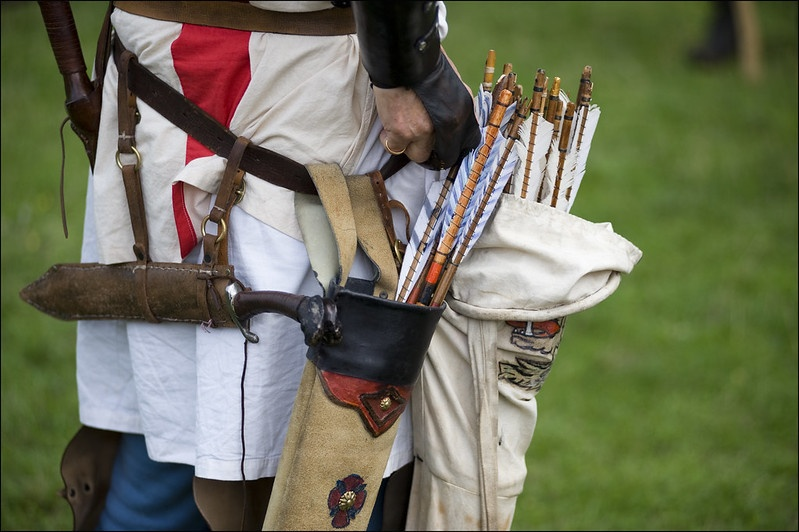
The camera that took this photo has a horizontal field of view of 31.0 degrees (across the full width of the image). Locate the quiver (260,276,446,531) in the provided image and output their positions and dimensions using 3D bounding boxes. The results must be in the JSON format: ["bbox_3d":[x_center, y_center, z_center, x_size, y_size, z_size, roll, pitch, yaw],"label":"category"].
[{"bbox_3d":[-0.182,0.575,5.401,0.447,0.758,0.659,16,41,1],"label":"quiver"}]

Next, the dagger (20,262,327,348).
[{"bbox_3d":[-0.877,0.115,5.529,1.288,0.312,0.401,1,46,7],"label":"dagger"}]
